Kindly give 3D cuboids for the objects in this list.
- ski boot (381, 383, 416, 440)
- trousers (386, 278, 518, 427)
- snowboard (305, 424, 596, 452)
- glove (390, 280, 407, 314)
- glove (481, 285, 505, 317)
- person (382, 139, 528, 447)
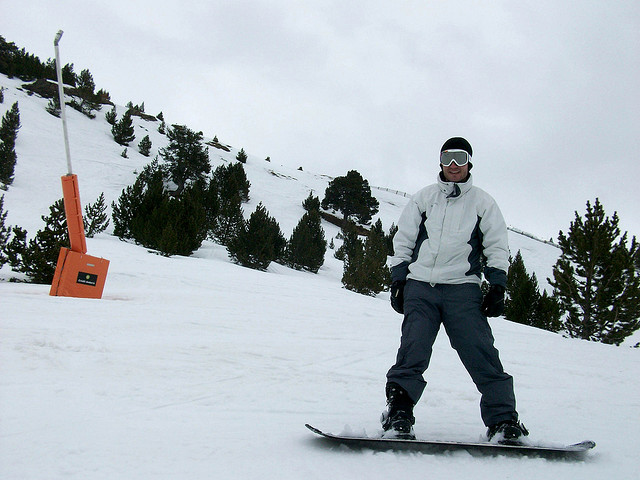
[{"bbox_3d":[0.586,1.311,3.877,0.153,0.506,0.489,9,-8,-3],"label":"ski boot"},{"bbox_3d":[1.030,0.784,4.177,1.069,1.739,0.482,2,21,23],"label":"trousers"},{"bbox_3d":[0.918,1.486,3.828,1.560,0.136,0.190,1,-13,7],"label":"snowboard"},{"bbox_3d":[0.645,0.471,4.235,0.160,0.223,0.234,1,-1,11],"label":"glove"},{"bbox_3d":[1.360,0.481,4.000,0.158,0.238,0.082,28,13,30],"label":"glove"},{"bbox_3d":[1.070,0.331,4.046,0.999,2.281,0.762,4,5,6],"label":"person"}]
